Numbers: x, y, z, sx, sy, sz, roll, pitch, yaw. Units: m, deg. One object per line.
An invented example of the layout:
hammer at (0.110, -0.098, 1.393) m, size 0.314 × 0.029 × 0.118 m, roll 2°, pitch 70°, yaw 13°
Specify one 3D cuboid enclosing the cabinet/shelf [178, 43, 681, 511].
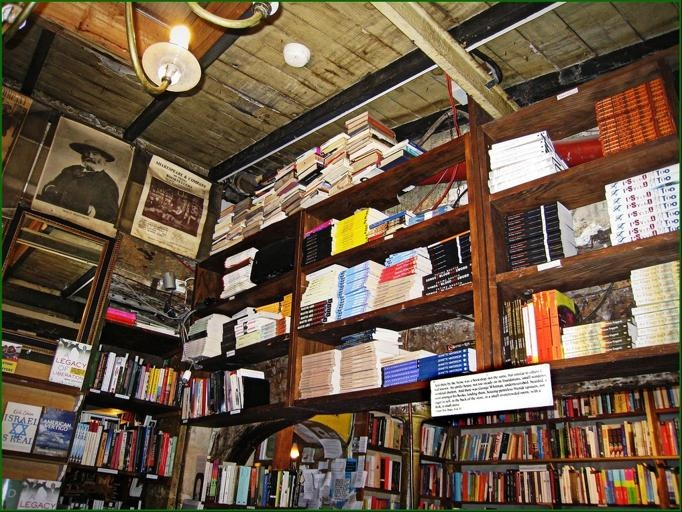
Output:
cabinet/shelf at (0.573, 0.037, 3.529) m, size 3.508 × 1.947 × 0.594 m, roll -18°, pitch -36°, yaw 36°
